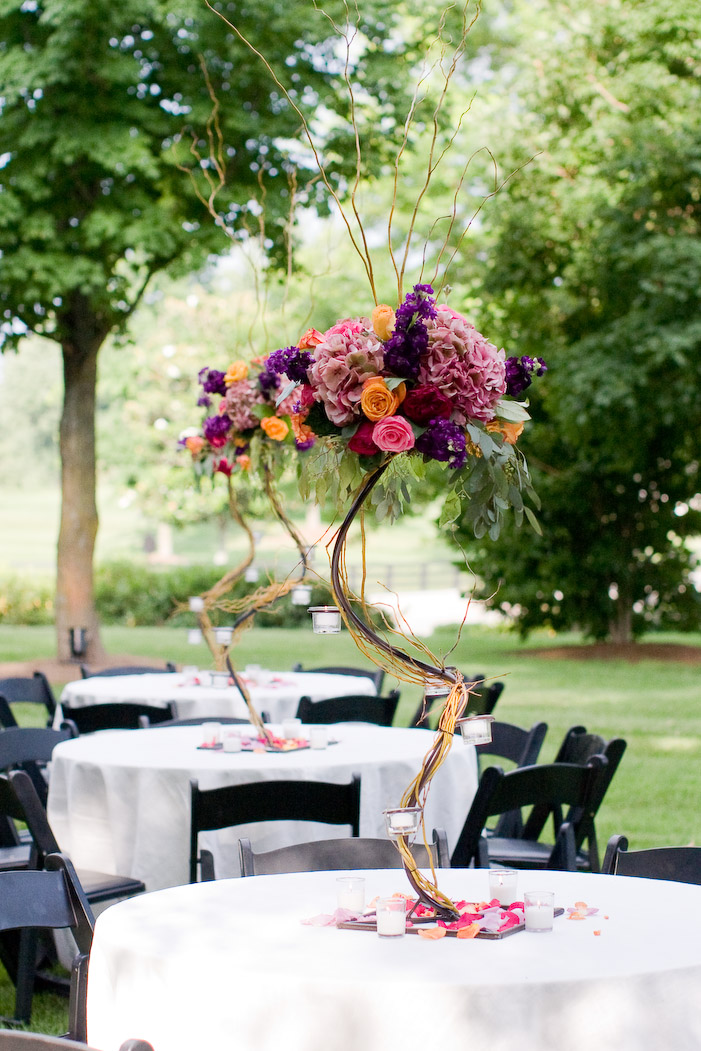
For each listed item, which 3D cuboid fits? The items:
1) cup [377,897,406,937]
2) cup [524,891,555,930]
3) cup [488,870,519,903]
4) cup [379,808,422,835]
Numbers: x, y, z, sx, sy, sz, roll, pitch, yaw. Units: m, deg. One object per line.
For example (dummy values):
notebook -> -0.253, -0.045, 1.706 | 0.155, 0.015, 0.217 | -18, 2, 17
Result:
cup -> 0.128, 1.197, 6.274 | 0.111, 0.108, 0.105 | 0, 4, 0
cup -> 0.583, 1.186, 6.361 | 0.119, 0.116, 0.111 | -1, 3, 0
cup -> 0.485, 1.142, 6.495 | 0.100, 0.094, 0.093 | -1, 1, 0
cup -> 0.163, 0.926, 6.424 | 0.103, 0.071, 0.095 | 1, -2, 0
